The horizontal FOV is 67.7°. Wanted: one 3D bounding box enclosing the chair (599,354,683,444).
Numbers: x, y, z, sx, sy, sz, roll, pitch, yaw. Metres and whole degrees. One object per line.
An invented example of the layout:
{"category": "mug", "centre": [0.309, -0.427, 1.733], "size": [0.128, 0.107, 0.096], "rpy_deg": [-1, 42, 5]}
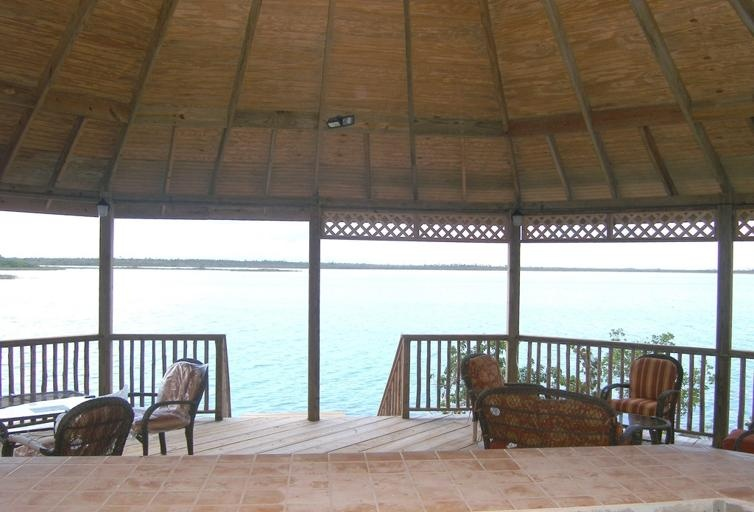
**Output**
{"category": "chair", "centre": [3.028, 1.666, 6.475], "size": [0.787, 0.888, 0.722], "rpy_deg": [-2, -4, 35]}

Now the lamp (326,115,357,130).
{"category": "lamp", "centre": [-0.466, -1.733, 7.197], "size": [0.380, 0.169, 0.252], "rpy_deg": [-1, -3, 1]}
